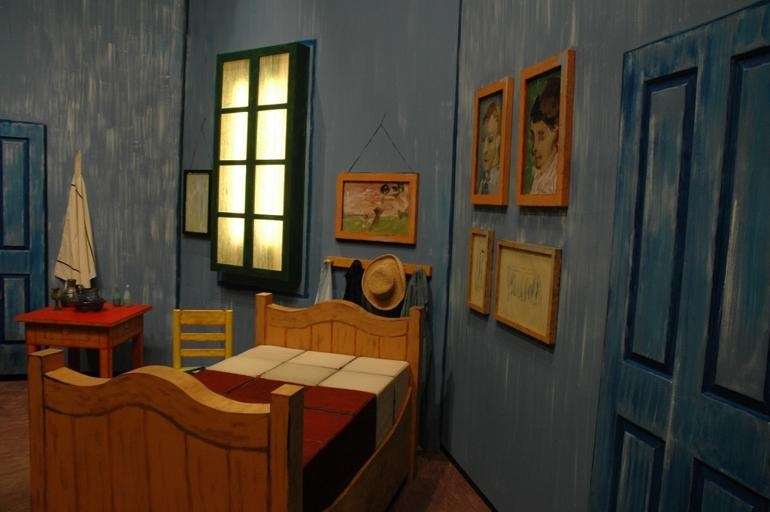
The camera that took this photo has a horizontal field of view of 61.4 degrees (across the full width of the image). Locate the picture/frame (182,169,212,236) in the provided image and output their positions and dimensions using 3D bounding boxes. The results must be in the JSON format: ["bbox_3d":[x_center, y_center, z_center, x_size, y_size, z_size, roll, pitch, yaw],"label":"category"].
[{"bbox_3d":[-1.772,-0.503,6.095,0.332,0.602,0.072,4,7,34],"label":"picture/frame"}]

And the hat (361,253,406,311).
[{"bbox_3d":[-0.002,0.222,5.115,0.332,0.455,0.119,-5,-6,32],"label":"hat"}]

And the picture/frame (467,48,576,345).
[{"bbox_3d":[0.869,-0.373,4.247,0.231,1.796,0.905,-1,6,-21],"label":"picture/frame"}]

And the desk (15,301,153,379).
[{"bbox_3d":[-2.526,0.546,5.528,0.680,0.801,0.757,1,4,3],"label":"desk"}]
